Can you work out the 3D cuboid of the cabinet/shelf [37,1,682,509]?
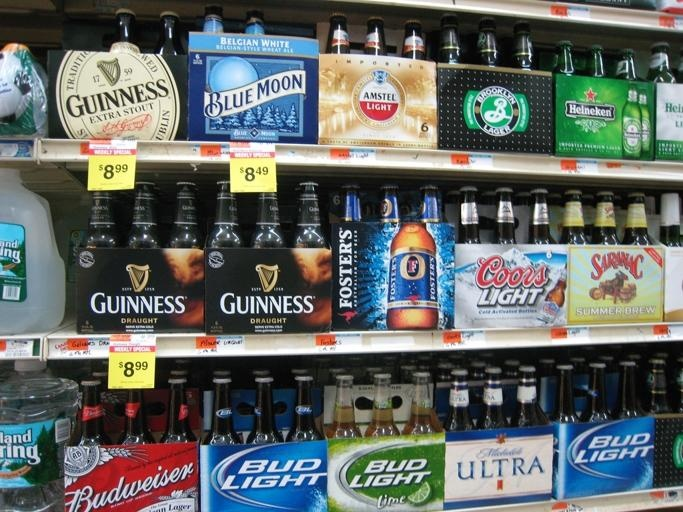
[{"bbox_3d":[-0.333,-0.199,4.399,3.423,1.771,1.609,-3,8,-24],"label":"cabinet/shelf"}]
